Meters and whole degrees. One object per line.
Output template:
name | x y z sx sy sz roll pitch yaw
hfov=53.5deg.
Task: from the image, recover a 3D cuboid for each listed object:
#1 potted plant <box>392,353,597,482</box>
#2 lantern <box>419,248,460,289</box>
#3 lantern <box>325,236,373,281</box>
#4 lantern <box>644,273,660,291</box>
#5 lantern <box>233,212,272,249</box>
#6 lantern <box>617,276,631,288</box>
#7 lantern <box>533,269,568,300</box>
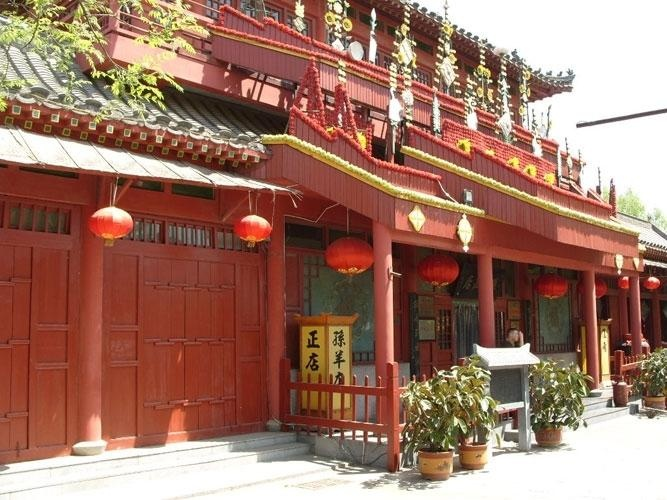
potted plant | 2.356 2.539 10.275 1.477 1.652 3.237 -11 -17 43
lantern | 2.040 0.367 12.788 0.641 0.747 0.682 1 3 4
lantern | 0.229 0.166 11.593 1.009 0.879 1.073 -3 1 10
lantern | 8.961 0.868 18.626 0.420 0.493 0.440 -5 -17 23
lantern | -1.231 -0.276 10.143 0.529 0.560 0.529 0 -8 -1
lantern | 7.518 0.854 17.062 0.298 0.389 0.313 1 0 11
lantern | 5.185 0.880 15.873 0.685 0.749 0.698 6 -6 -19
